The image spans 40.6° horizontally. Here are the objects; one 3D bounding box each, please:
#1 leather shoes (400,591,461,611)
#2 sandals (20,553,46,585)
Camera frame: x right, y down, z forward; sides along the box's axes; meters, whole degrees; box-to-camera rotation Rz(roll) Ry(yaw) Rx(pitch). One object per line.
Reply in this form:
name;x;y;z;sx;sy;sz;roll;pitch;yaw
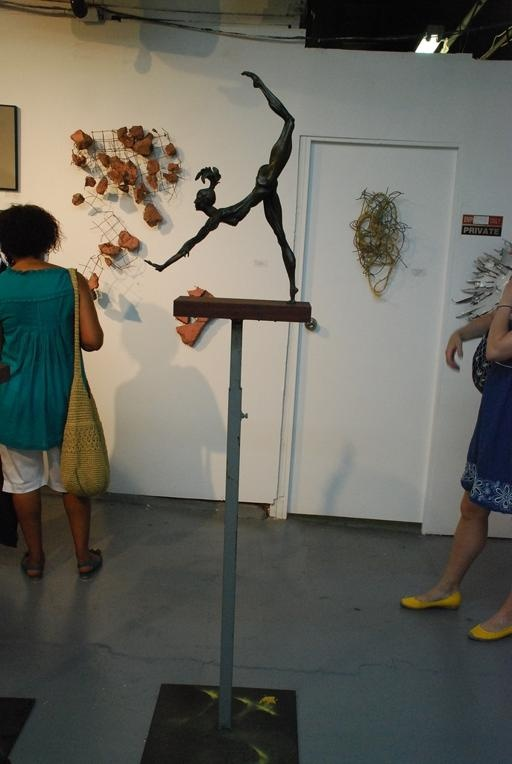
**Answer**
leather shoes;0.652;0.821;2.621;0.228;0.086;0.080;3;0;0
sandals;-0.872;0.719;2.710;0.058;0.036;0.129;-1;53;-19
